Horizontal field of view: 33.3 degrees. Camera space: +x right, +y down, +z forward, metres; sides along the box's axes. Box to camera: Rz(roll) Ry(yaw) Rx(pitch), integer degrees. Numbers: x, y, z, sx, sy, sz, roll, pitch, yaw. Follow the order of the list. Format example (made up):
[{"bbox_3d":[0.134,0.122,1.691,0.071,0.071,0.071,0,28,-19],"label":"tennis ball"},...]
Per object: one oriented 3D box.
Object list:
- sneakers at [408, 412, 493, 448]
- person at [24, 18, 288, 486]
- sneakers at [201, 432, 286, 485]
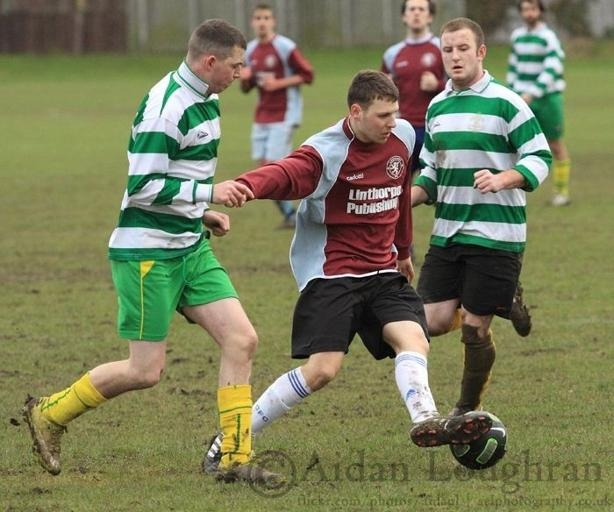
[{"bbox_3d":[0.733,0.872,5.210,0.450,0.173,0.210,-5,1,-15],"label":"sneakers"},{"bbox_3d":[-0.821,-0.036,5.506,1.124,2.359,0.732,-2,14,-4],"label":"person"},{"bbox_3d":[-0.369,1.093,5.543,0.463,0.308,0.168,4,-3,7],"label":"sneakers"}]
